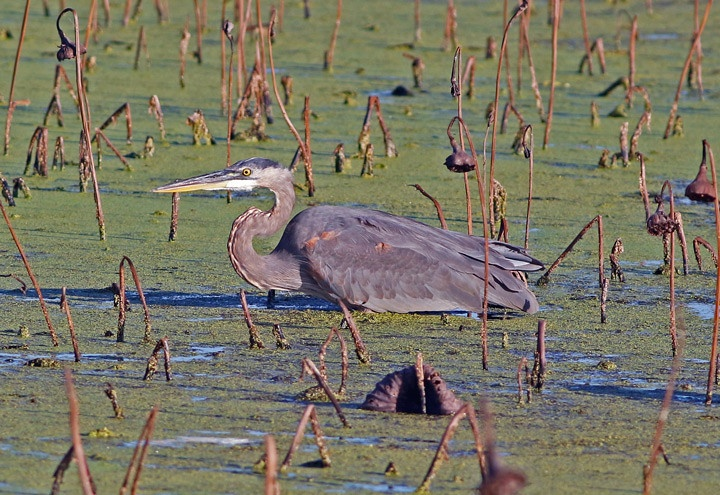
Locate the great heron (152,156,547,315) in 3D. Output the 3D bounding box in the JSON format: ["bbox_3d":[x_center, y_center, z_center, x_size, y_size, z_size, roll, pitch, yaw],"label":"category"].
[{"bbox_3d":[0.090,-0.104,10.137,4.320,1.717,1.215,2,2,-1],"label":"great heron"}]
